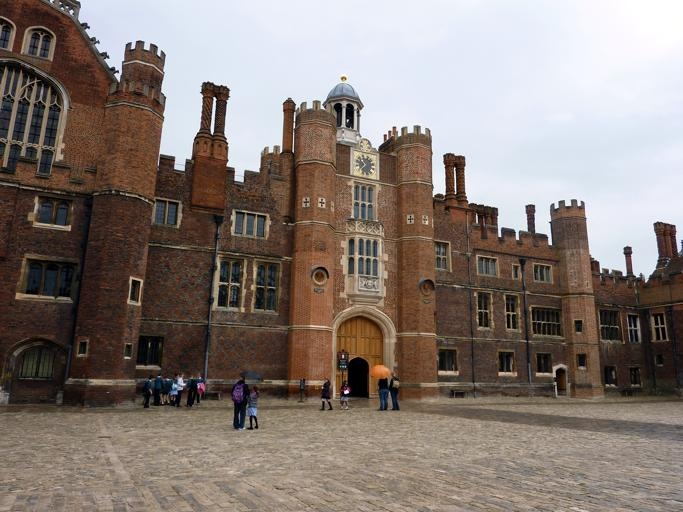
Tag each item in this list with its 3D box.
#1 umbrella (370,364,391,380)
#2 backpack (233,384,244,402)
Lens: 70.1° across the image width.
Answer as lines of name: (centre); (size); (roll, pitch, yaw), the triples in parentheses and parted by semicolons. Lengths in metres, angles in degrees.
umbrella: (1.916, 5.687, 23.835); (0.731, 0.613, 0.744); (-7, -15, 29)
backpack: (-3.444, 4.579, 16.214); (0.340, 0.584, 0.244); (2, -14, -5)
